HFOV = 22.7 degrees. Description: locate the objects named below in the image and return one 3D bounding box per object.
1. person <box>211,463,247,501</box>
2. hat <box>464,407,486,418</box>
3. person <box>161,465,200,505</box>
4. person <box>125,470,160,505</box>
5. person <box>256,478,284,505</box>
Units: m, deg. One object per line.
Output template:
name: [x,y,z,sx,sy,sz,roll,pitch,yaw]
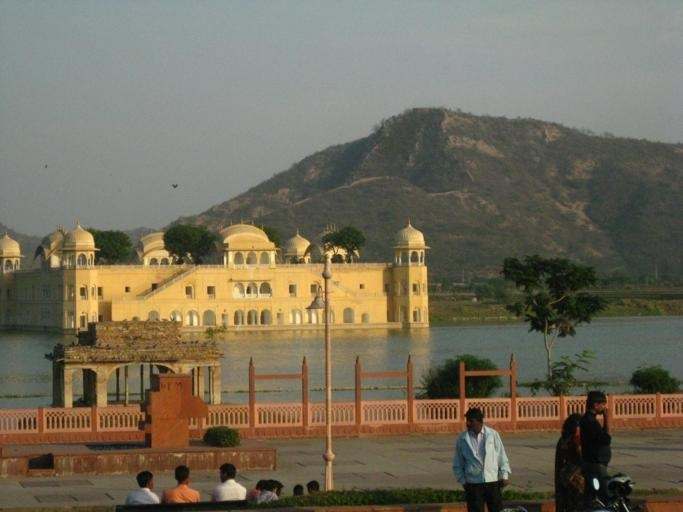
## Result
person: [-3.825,7.803,58.116,1.175,1.307,1.150,0,-9,-5]
hat: [4.304,5.263,56.419,0.551,0.484,0.442,-4,8,-12]
person: [-5.425,7.807,57.552,1.240,1.272,0.562,1,-9,-11]
person: [-6.836,8.093,58.671,1.247,1.065,0.630,2,5,10]
person: [-2.499,8.063,57.840,0.848,0.798,0.788,0,-9,-5]
